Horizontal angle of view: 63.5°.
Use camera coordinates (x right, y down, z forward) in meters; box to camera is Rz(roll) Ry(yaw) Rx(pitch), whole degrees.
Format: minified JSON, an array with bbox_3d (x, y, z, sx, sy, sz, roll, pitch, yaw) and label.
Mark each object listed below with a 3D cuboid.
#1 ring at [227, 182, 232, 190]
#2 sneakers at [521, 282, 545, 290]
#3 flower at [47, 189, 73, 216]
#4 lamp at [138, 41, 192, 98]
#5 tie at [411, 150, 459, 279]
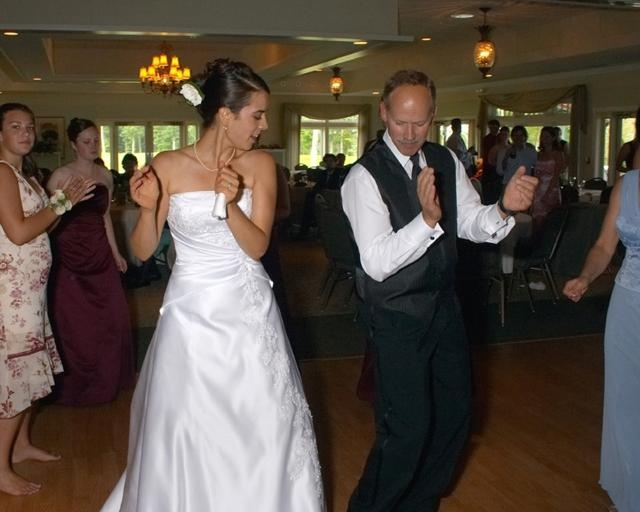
[{"bbox_3d":[-0.284,-0.219,1.610,0.012,0.014,0.021,21,-12,2],"label":"ring"},{"bbox_3d":[2.395,0.337,5.806,0.078,0.084,0.227,-23,19,-40],"label":"sneakers"},{"bbox_3d":[-1.218,-0.247,2.414,0.116,0.113,0.031,-14,7,-41],"label":"flower"},{"bbox_3d":[-2.874,-3.400,9.572,0.916,0.960,0.942,15,22,31],"label":"lamp"},{"bbox_3d":[0.428,-0.172,2.007,0.235,0.446,0.131,-2,-5,-22],"label":"tie"}]
